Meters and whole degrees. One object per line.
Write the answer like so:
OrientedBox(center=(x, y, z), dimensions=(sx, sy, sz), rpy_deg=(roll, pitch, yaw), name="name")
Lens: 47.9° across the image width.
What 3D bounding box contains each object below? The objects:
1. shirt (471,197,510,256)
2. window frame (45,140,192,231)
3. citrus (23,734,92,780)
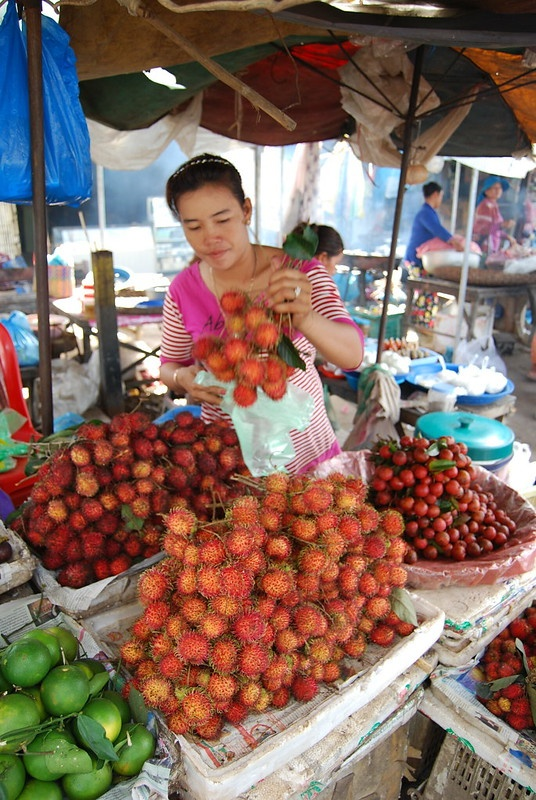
OrientedBox(center=(2.678, -2.067, 7.296), dimensions=(0.398, 1.064, 0.355), rpy_deg=(2, 37, 12), name="shirt")
OrientedBox(center=(-2.219, -3.733, 10.960), dimensions=(1.322, 1.645, 2.426), rpy_deg=(13, 19, -17), name="window frame")
OrientedBox(center=(-0.320, 0.545, 0.927), dimensions=(0.091, 0.043, 0.065), rpy_deg=(12, 23, 1), name="citrus")
